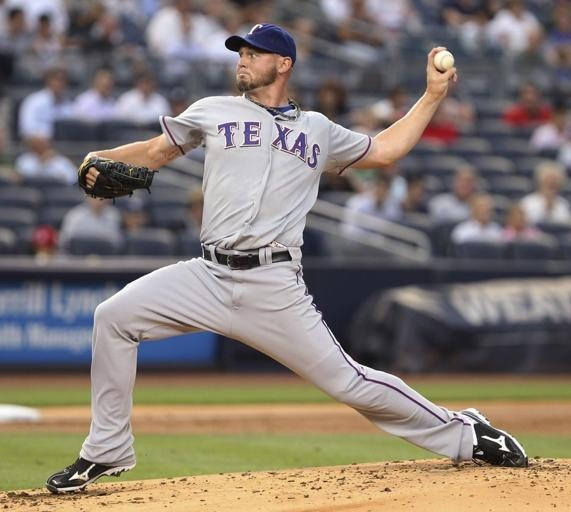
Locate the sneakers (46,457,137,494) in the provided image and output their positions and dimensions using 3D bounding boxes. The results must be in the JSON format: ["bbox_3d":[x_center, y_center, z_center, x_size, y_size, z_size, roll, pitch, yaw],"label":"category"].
[{"bbox_3d":[-0.991,1.050,5.141,0.476,0.162,0.150,-9,13,-19],"label":"sneakers"}]

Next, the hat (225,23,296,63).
[{"bbox_3d":[-0.106,-1.088,5.263,0.361,0.135,0.235,4,6,-34],"label":"hat"}]
